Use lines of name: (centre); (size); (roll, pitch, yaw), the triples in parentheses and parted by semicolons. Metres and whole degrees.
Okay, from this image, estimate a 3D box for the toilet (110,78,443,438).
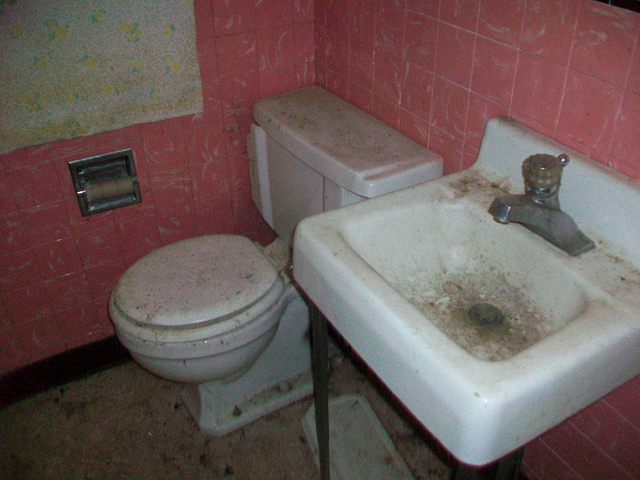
toilet: (-0.241, 0.114, 1.868); (0.932, 1.040, 0.737); (-14, 38, -24)
